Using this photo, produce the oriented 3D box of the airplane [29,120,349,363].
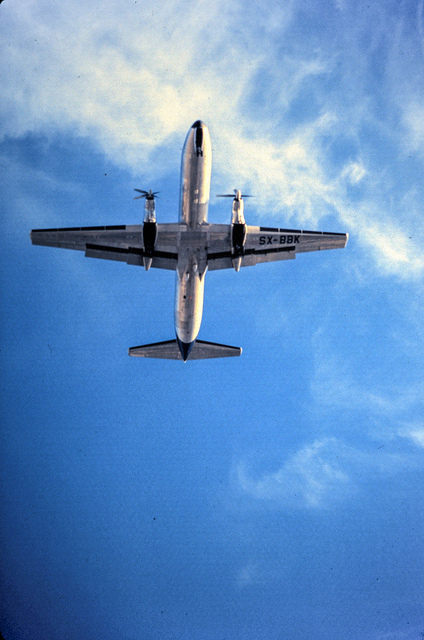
[{"bbox_3d":[-0.898,-2.182,47.080,12.211,3.622,12.233,-2,-68,-8],"label":"airplane"}]
